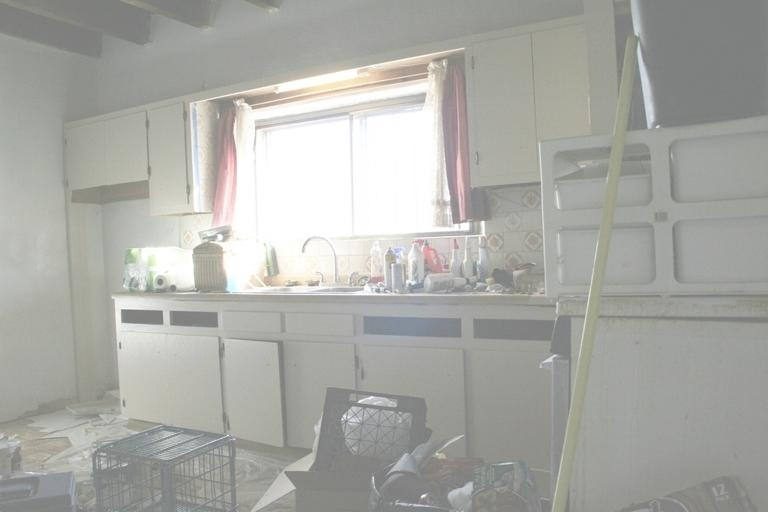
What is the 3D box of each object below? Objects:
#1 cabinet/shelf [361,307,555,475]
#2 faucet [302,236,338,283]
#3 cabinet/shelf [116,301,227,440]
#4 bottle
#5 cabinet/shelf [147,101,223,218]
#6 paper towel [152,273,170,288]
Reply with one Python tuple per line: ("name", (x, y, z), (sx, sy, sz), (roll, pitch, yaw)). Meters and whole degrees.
("cabinet/shelf", (0.410, 0.661, 3.018), (0.853, 0.762, 0.295), (-2, -6, 21))
("faucet", (-0.444, 0.028, 4.324), (0.245, 0.250, 0.301), (-3, -1, -9))
("cabinet/shelf", (-1.359, 0.711, 4.210), (0.849, 0.730, 0.315), (-1, 0, 20))
("bottle", (0.257, 0.101, 3.619), (0.365, 0.211, 0.437), (-3, 0, 44))
("cabinet/shelf", (-1.432, -0.698, 4.420), (0.508, 0.772, 0.291), (-3, -2, -10))
("paper towel", (-1.520, 0.175, 4.219), (0.113, 0.108, 0.051), (-3, -1, -3))
